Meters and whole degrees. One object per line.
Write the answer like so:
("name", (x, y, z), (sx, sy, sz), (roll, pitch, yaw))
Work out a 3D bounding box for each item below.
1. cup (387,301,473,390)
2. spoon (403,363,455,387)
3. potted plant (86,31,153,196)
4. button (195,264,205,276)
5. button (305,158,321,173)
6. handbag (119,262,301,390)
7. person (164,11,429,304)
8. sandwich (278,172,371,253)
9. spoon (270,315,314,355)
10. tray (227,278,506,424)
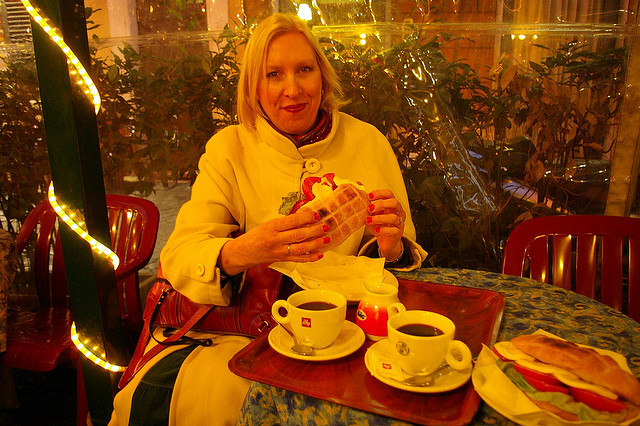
("cup", (0.379, 0.484, 1.445), (0.206, 0.195, 0.294), (-10, 15, -35))
("spoon", (0.356, 0.547, 1.409), (0.224, 0.027, 0.044), (-7, 41, -31))
("potted plant", (-1.642, -0.791, 3.410), (0.747, 1.359, 0.299), (11, 20, 43))
("button", (-0.562, 0.264, 1.948), (0.063, 0.049, 0.022), (6, 17, 33))
("button", (-0.047, -0.261, 2.310), (0.079, 0.074, 0.036), (-4, 14, -4))
("handbag", (-0.502, 0.464, 1.959), (0.544, 0.283, 0.721), (0, 9, 19))
("person", (-0.158, -0.254, 2.225), (1.457, 1.445, 1.047), (-8, 17, -14))
("sandwich", (-0.029, -0.043, 2.059), (0.375, 0.311, 0.556), (-9, 15, -25))
("spoon", (-0.103, 0.489, 1.602), (0.055, 0.033, 0.228), (-14, 36, -31))
("tray", (0.241, 0.493, 1.670), (0.823, 0.166, 0.903), (5, 15, 29))
